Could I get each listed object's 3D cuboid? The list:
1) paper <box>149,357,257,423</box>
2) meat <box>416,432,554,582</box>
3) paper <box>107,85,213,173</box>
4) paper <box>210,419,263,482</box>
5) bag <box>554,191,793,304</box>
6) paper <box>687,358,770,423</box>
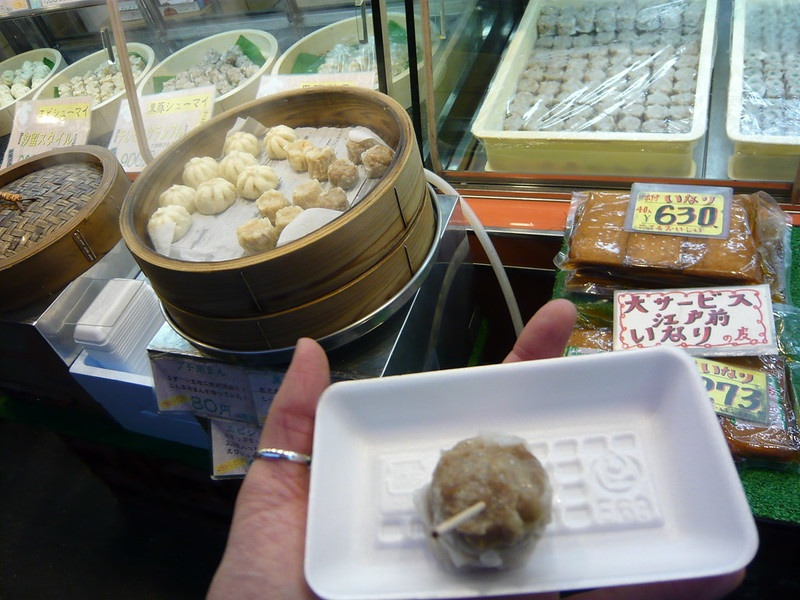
[{"bbox_3d":[-0.577,0.237,1.752,0.350,0.205,0.189,6,20,13],"label":"paper"},{"bbox_3d":[0.189,0.431,1.208,0.295,0.142,0.268,-21,50,-8],"label":"meat"},{"bbox_3d":[-0.952,-0.760,2.382,0.480,0.108,0.416,5,70,19],"label":"paper"},{"bbox_3d":[-0.510,0.473,1.767,0.216,0.189,0.049,5,13,18],"label":"paper"},{"bbox_3d":[0.856,-0.144,1.752,0.576,0.133,0.387,-1,57,17],"label":"bag"},{"bbox_3d":[0.901,0.246,1.535,0.234,0.007,0.156,13,67,-5],"label":"paper"}]
